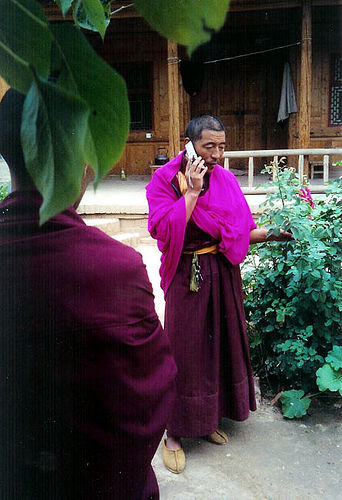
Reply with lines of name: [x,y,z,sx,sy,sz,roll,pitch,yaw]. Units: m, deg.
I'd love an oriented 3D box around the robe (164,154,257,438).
robe: [0.151,0.175,2.675,0.449,1.296,0.341,-7,13,-19]
